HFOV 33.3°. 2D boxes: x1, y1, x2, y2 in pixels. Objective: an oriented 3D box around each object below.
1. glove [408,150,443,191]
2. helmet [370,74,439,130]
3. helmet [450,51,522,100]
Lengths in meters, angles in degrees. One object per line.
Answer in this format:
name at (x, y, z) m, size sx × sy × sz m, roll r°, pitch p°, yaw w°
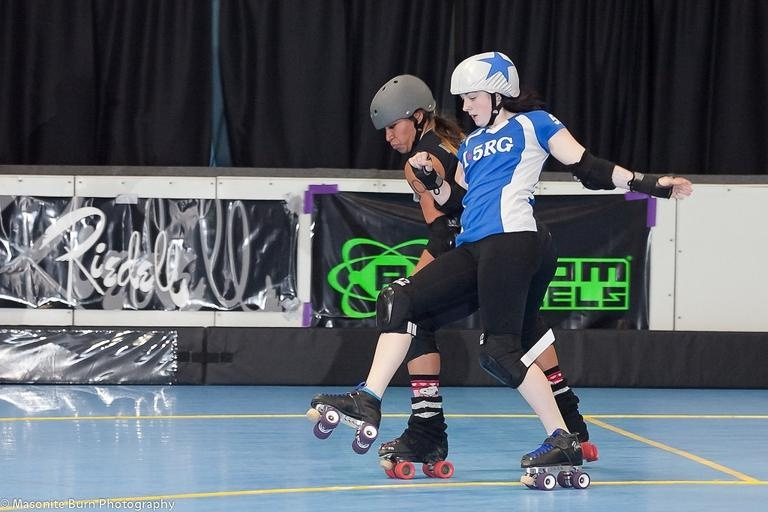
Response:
glove at (0.324, -0.666, 9.752) m, size 0.139 × 0.123 × 0.303 m, roll -16°, pitch -33°, yaw 21°
helmet at (0.108, -1.318, 10.392) m, size 0.618 × 0.354 × 0.465 m, roll -20°, pitch 25°, yaw -21°
helmet at (0.778, -1.381, 9.755) m, size 0.466 × 0.341 × 0.401 m, roll 6°, pitch 10°, yaw 45°
